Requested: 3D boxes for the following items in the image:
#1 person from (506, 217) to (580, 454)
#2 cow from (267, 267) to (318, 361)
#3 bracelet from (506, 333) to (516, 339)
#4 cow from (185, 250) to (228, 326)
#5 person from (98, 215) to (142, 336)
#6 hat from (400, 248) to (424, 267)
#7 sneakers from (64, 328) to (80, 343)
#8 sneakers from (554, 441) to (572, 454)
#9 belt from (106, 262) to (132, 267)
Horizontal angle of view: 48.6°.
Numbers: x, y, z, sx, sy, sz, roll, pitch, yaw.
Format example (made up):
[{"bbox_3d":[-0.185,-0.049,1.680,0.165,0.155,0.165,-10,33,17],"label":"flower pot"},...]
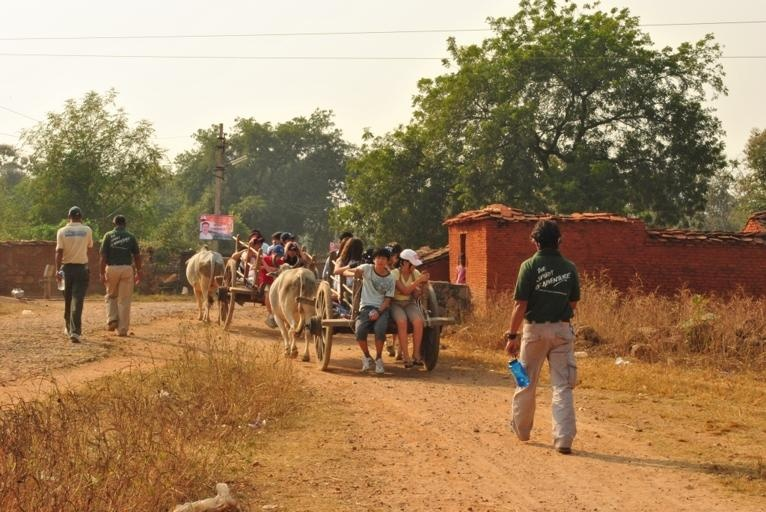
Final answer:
[{"bbox_3d":[2.749,1.358,14.568,1.151,3.960,0.628,2,-2,12],"label":"person"},{"bbox_3d":[-2.055,1.305,19.183,1.074,2.142,1.885,3,-2,-9],"label":"cow"},{"bbox_3d":[2.208,1.388,14.607,0.175,0.122,0.186,6,-4,-40],"label":"bracelet"},{"bbox_3d":[-5.024,0.826,23.930,0.923,1.502,1.605,3,-2,-19],"label":"cow"},{"bbox_3d":[-6.338,0.484,20.260,0.879,2.269,1.312,3,-2,-18],"label":"person"},{"bbox_3d":[0.575,0.035,17.870,0.423,0.227,0.293,19,9,13],"label":"hat"},{"bbox_3d":[-7.148,1.839,19.514,0.230,0.291,0.682,-5,5,-10],"label":"sneakers"},{"bbox_3d":[3.027,3.245,14.368,0.291,0.214,0.157,2,-2,11],"label":"sneakers"},{"bbox_3d":[-6.229,0.228,20.034,0.524,0.060,0.113,4,-3,-36],"label":"belt"}]
